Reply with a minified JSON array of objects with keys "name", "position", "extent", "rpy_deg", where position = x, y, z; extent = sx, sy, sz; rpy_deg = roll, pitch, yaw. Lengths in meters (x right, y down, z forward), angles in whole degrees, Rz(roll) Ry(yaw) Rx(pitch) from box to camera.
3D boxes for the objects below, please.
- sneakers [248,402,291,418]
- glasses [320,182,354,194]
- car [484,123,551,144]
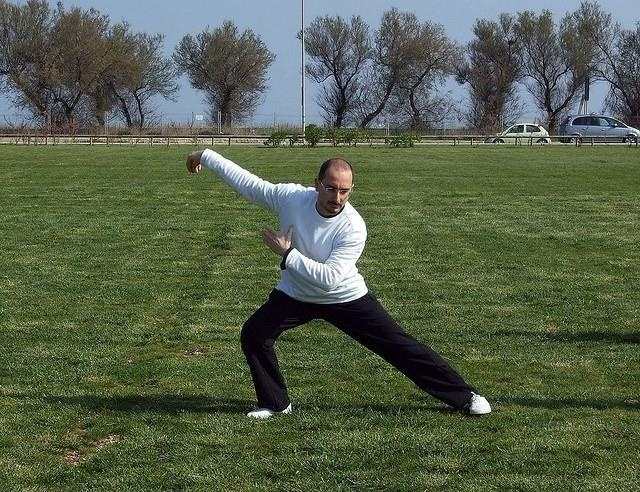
[{"name":"sneakers","position":[-0.501,1.581,9.099],"extent":[0.434,0.181,0.150],"rpy_deg":[0,8,-7]},{"name":"glasses","position":[0.148,-0.538,8.697],"extent":[0.313,0.103,0.134],"rpy_deg":[-2,12,-12]},{"name":"car","position":[9.853,-5.492,46.071],"extent":[2.781,0.959,3.000],"rpy_deg":[3,12,12]}]
